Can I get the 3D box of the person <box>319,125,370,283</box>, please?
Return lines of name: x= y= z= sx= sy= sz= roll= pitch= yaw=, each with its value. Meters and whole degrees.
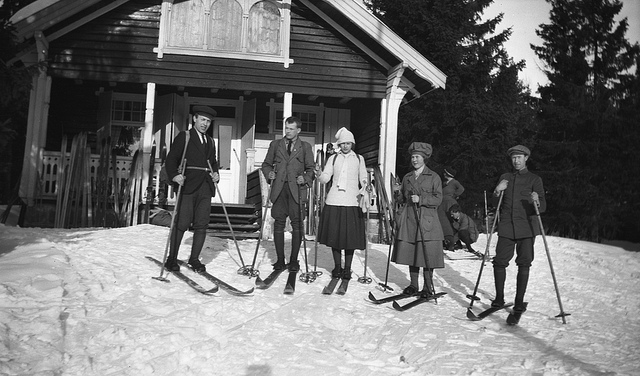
person: x=0.587 y=0.391 z=11.697 sx=1.097 sy=2.835 sz=0.590 roll=2 pitch=1 yaw=5

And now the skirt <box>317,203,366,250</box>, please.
skirt: x=0.538 y=0.765 z=11.780 sx=1.197 sy=1.185 sz=0.758 roll=8 pitch=28 yaw=10

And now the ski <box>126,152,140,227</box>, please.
ski: x=-5.764 y=0.084 z=15.918 sx=0.235 sy=2.266 sz=0.158 roll=15 pitch=-4 yaw=-21

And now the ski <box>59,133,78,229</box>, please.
ski: x=-7.472 y=-0.086 z=15.254 sx=0.288 sy=2.979 sz=0.230 roll=10 pitch=-2 yaw=-4

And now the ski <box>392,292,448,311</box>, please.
ski: x=2.157 y=2.469 z=11.135 sx=0.201 sy=0.154 sz=1.123 roll=11 pitch=13 yaw=39

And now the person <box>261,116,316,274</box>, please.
person: x=-0.708 y=0.138 z=11.826 sx=1.163 sy=2.667 sz=0.636 roll=2 pitch=1 yaw=-4

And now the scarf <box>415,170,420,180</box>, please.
scarf: x=2.178 y=-0.283 z=11.424 sx=0.035 sy=0.131 sz=0.107 roll=10 pitch=-1 yaw=-37

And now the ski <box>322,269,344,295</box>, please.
ski: x=0.309 y=2.142 z=11.597 sx=0.240 sy=0.195 sz=1.516 roll=2 pitch=9 yaw=11

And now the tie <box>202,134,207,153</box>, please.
tie: x=-2.615 y=-1.008 z=11.665 sx=0.068 sy=0.401 sz=0.051 roll=0 pitch=-26 yaw=-15

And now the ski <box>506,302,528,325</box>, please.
ski: x=4.161 y=2.654 z=10.785 sx=0.136 sy=0.240 sz=0.799 roll=-5 pitch=2 yaw=30

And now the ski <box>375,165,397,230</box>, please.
ski: x=1.556 y=0.181 z=12.081 sx=0.250 sy=2.071 sz=0.161 roll=-8 pitch=25 yaw=13

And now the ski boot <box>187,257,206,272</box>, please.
ski boot: x=-2.769 y=1.734 z=11.554 sx=0.201 sy=0.207 sz=0.498 roll=-3 pitch=5 yaw=-36

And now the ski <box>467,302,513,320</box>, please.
ski: x=3.717 y=2.597 z=10.993 sx=0.284 sy=0.303 sz=1.952 roll=8 pitch=1 yaw=44

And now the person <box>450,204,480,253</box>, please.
person: x=4.867 y=1.353 z=16.165 sx=0.687 sy=1.271 sz=0.652 roll=-9 pitch=40 yaw=20

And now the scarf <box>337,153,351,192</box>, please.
scarf: x=0.541 y=-0.361 z=11.752 sx=0.227 sy=0.672 sz=0.250 roll=2 pitch=1 yaw=5

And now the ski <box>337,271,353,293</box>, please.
ski: x=0.558 y=2.128 z=11.558 sx=0.216 sy=0.117 sz=1.290 roll=4 pitch=10 yaw=8

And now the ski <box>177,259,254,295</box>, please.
ski: x=-2.346 y=2.011 z=11.415 sx=0.168 sy=0.200 sz=1.634 roll=-12 pitch=25 yaw=-42

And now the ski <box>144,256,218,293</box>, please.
ski: x=-3.074 y=1.925 z=11.235 sx=1.585 sy=0.181 sz=0.164 roll=25 pitch=23 yaw=31

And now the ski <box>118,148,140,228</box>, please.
ski: x=-5.722 y=0.043 z=15.772 sx=0.199 sy=2.424 sz=0.233 roll=8 pitch=4 yaw=43

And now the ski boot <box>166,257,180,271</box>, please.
ski boot: x=-3.250 y=1.689 z=11.361 sx=0.332 sy=0.338 sz=0.209 roll=4 pitch=-7 yaw=-4
